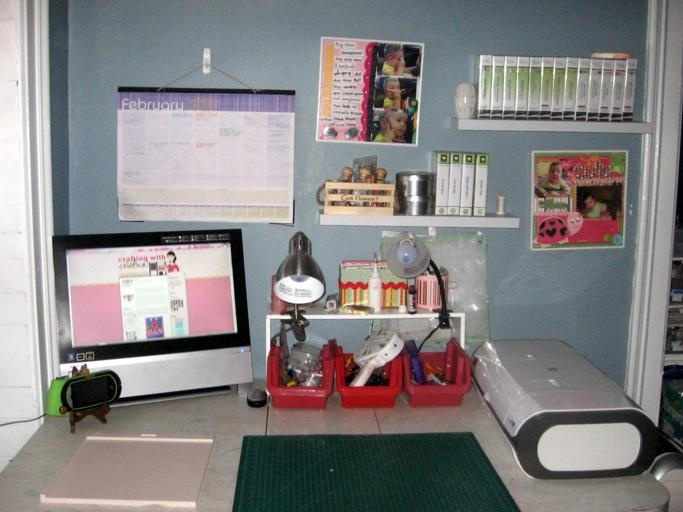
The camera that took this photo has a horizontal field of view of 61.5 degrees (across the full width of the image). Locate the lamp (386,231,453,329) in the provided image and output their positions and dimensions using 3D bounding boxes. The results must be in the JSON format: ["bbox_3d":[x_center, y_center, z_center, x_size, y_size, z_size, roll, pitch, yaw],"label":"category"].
[{"bbox_3d":[0.357,0.119,2.452,0.322,0.429,0.184,0,-2,-44],"label":"lamp"}]

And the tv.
[{"bbox_3d":[-0.799,0.272,2.355,0.658,0.637,0.237,-3,4,-12],"label":"tv"}]

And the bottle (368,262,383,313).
[{"bbox_3d":[0.133,0.137,2.451,0.056,0.206,0.080,5,15,34],"label":"bottle"}]

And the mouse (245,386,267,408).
[{"bbox_3d":[-0.345,0.575,2.339,0.067,0.032,0.068,3,7,-3],"label":"mouse"}]

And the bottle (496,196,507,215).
[{"bbox_3d":[0.725,-0.231,2.608,0.043,0.079,0.139,0,13,15],"label":"bottle"}]

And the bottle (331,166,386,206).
[{"bbox_3d":[0.069,-0.310,2.488,0.186,0.196,0.077,6,-7,-3],"label":"bottle"}]

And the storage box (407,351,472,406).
[{"bbox_3d":[0.413,0.505,2.421,0.190,0.108,0.250,0,4,2],"label":"storage box"}]

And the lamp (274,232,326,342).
[{"bbox_3d":[-0.178,0.117,2.330,0.207,0.427,0.299,0,-16,-5],"label":"lamp"}]
